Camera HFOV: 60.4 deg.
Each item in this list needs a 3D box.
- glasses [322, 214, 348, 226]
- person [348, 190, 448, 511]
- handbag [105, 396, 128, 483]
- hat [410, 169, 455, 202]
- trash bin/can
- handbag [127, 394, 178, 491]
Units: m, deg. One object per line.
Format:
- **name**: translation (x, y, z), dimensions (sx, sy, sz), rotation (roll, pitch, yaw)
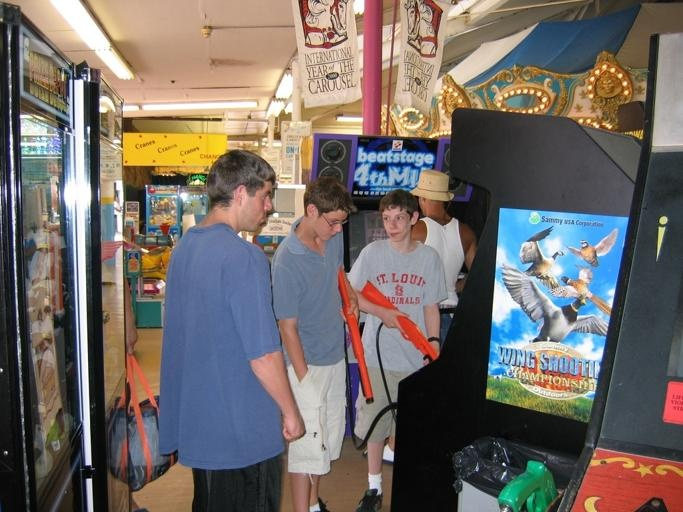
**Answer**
- **glasses**: translation (-0.034, -0.182, 2.903), dimensions (0.053, 0.056, 0.155), rotation (2, 4, 35)
- **person**: translation (0.313, 0.532, 3.321), dimensions (0.554, 1.818, 0.407), rotation (0, 3, 11)
- **handbag**: translation (-0.967, 0.814, 2.546), dimensions (0.058, 0.354, 0.215), rotation (-1, 3, -13)
- **hat**: translation (0.636, -0.508, 4.095), dimensions (0.315, 0.172, 0.286), rotation (17, 27, 34)
- **trash bin/can**: translation (0.646, 0.800, 2.241), dimensions (0.300, 0.190, 0.388), rotation (-5, 3, -40)
- **handbag**: translation (-0.908, 0.819, 2.699), dimensions (0.124, 0.376, 0.307), rotation (-3, 12, 6)
